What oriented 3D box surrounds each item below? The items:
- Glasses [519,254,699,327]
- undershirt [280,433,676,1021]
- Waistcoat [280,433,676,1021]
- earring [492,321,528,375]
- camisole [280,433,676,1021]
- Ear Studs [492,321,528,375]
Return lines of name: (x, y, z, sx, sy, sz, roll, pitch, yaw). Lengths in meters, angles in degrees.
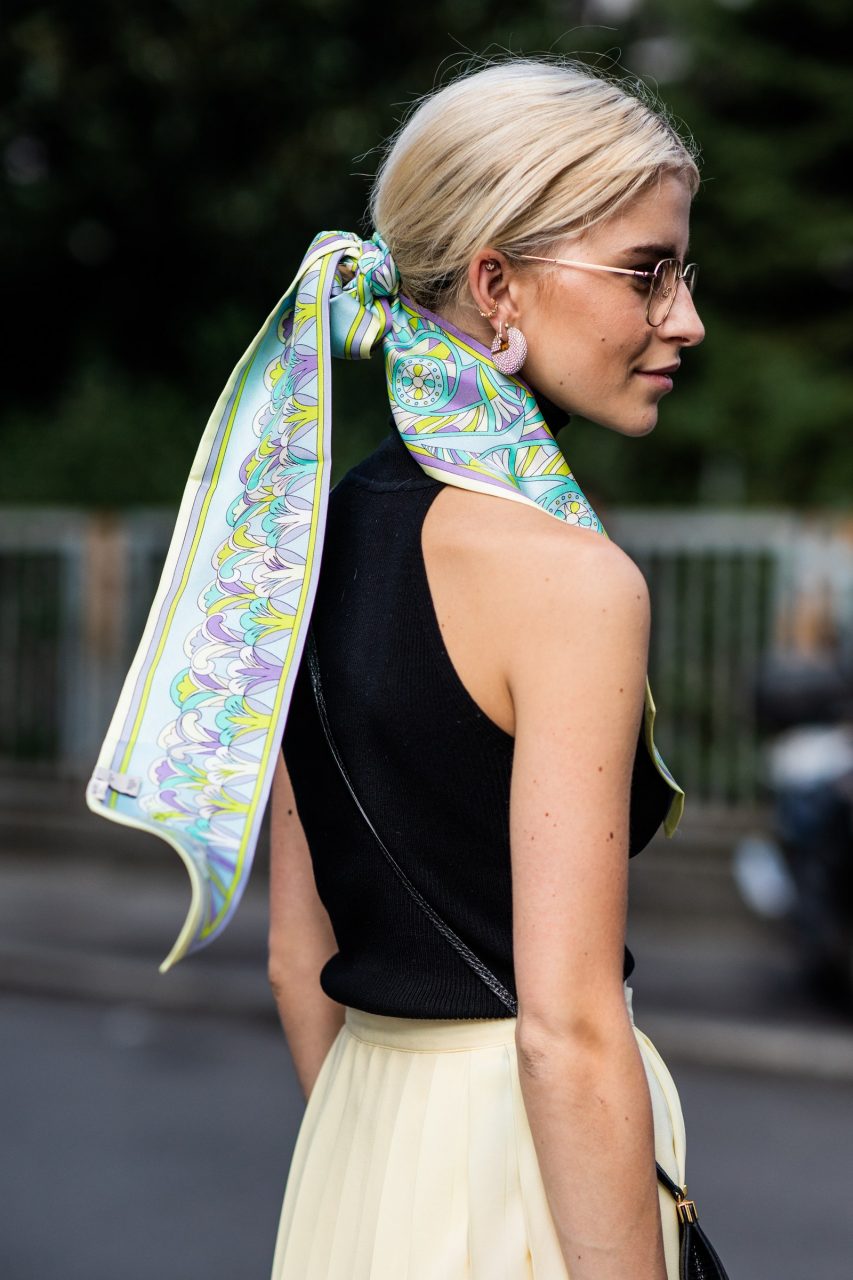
Glasses: (0.185, -0.370, 1.625, 0.114, 0.030, 0.101, 6, -2, 17)
undershirt: (-0.034, 0.086, 1.640, 0.154, 0.598, 0.373, -1, 4, -19)
Waistcoat: (-0.034, 0.086, 1.640, 0.154, 0.598, 0.373, -1, 4, -19)
earring: (0.084, -0.296, 1.624, 0.045, 0.042, 0.018, -1, -14, 24)
camisole: (-0.034, 0.086, 1.640, 0.154, 0.598, 0.373, -1, 4, -19)
Ear Studs: (0.084, -0.296, 1.625, 0.045, 0.042, 0.018, -1, -14, 24)
